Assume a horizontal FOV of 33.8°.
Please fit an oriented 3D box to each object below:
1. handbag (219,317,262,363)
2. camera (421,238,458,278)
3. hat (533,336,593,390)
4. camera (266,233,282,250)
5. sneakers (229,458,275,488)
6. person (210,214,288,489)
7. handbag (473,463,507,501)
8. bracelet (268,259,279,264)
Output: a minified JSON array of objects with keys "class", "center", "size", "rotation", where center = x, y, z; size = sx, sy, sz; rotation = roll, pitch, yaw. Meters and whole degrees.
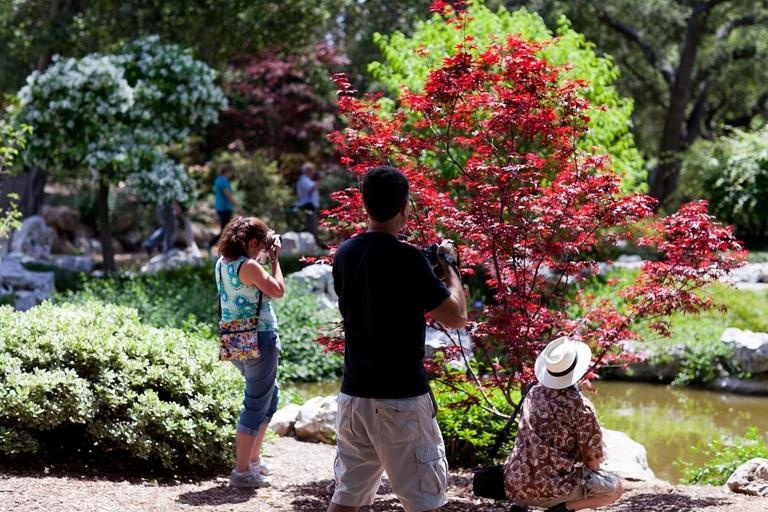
[{"class":"handbag","center":[-1.841,1.056,15.977],"size":[0.545,0.551,0.205],"rotation":[-6,-7,16]},{"class":"camera","center":[0.688,0.071,14.909],"size":[0.416,0.419,0.159],"rotation":[-30,-19,-3]},{"class":"hat","center":[2.091,1.436,15.192],"size":[0.524,0.620,0.219],"rotation":[1,38,1]},{"class":"camera","center":[-1.394,-0.212,16.084],"size":[0.214,0.207,0.170],"rotation":[6,-24,11]},{"class":"sneakers","center":[-1.710,2.799,16.228],"size":[0.610,0.280,0.250],"rotation":[1,5,-26]},{"class":"person","center":[-1.724,1.246,16.017],"size":[0.798,3.436,0.340],"rotation":[2,5,-9]},{"class":"handbag","center":[1.334,2.709,15.460],"size":[0.453,0.466,0.344],"rotation":[2,22,4]},{"class":"bracelet","center":[-1.421,0.069,16.448],"size":[0.091,0.022,0.088],"rotation":[5,-10,-32]}]
